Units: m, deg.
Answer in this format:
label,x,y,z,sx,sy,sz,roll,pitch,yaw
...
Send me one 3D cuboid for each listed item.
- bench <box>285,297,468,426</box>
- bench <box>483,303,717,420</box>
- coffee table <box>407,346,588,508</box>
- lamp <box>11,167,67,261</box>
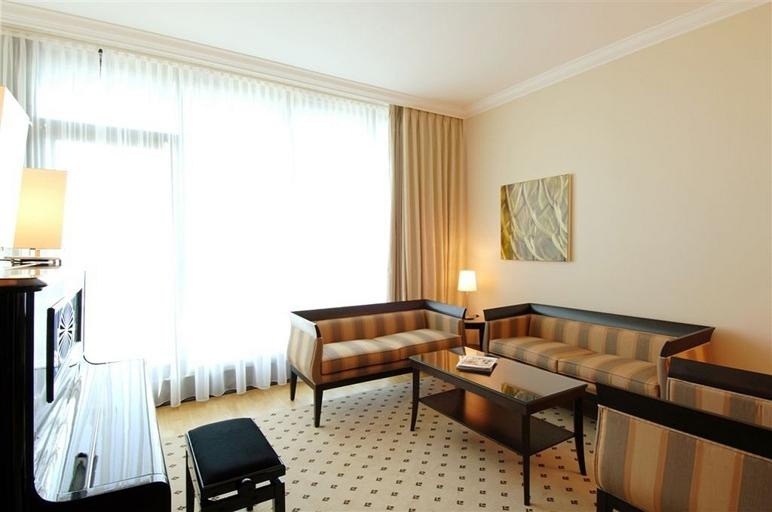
label,x,y,z,sx,sy,sz,roll,pitch,yaw
bench,-0.072,0.987,5.488,1.847,0.835,0.796,-2,6,-33
bench,1.896,0.976,5.054,0.679,0.816,1.902,-5,6,-34
coffee table,0.927,1.319,4.303,0.778,0.730,1.430,-12,17,-39
lamp,-2.376,-0.292,3.534,0.280,0.668,0.090,2,-9,-15
